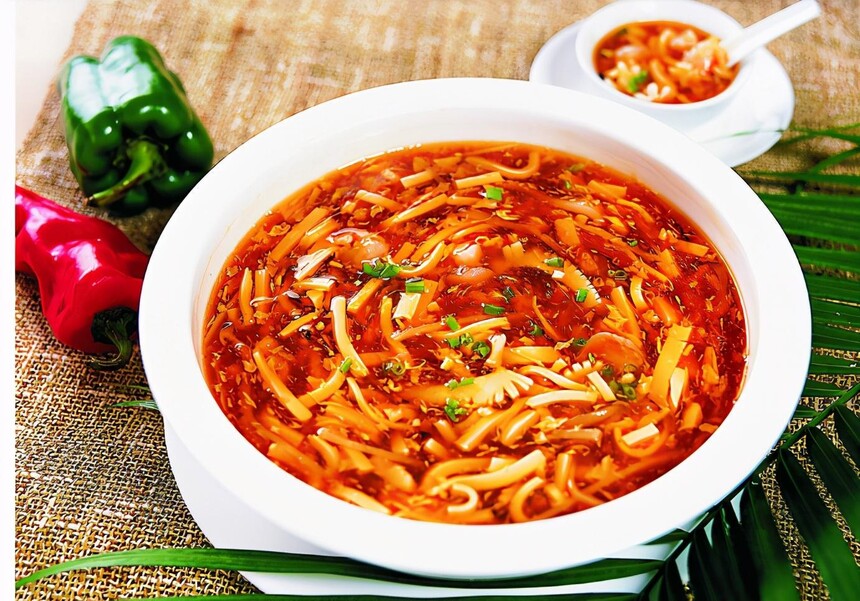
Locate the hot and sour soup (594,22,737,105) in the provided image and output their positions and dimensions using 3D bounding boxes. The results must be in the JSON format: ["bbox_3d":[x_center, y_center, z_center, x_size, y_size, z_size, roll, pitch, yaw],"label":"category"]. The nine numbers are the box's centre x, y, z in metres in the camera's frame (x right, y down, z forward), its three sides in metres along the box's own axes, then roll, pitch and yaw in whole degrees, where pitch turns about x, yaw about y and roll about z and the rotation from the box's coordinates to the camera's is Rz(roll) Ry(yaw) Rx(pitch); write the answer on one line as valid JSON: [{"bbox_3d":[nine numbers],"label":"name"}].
[{"bbox_3d":[1.160,-1.237,3.774,0.931,0.428,0.736,11,24,19],"label":"hot and sour soup"}]

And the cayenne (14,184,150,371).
[{"bbox_3d":[-1.564,-0.082,3.154,0.429,0.760,0.328,-37,-22,-24],"label":"cayenne"}]
